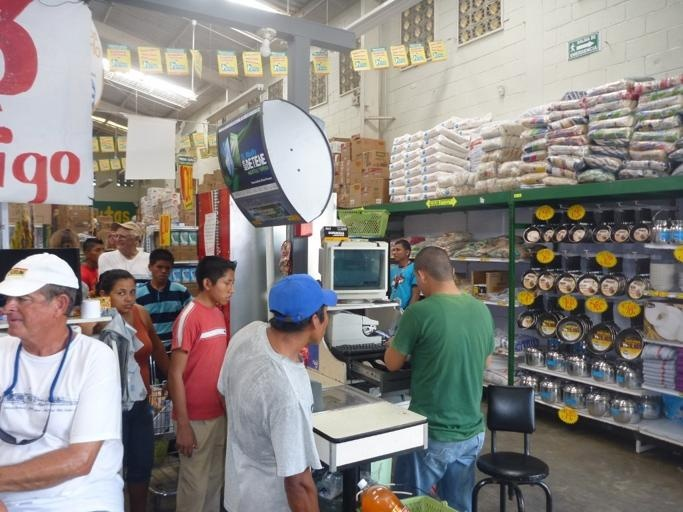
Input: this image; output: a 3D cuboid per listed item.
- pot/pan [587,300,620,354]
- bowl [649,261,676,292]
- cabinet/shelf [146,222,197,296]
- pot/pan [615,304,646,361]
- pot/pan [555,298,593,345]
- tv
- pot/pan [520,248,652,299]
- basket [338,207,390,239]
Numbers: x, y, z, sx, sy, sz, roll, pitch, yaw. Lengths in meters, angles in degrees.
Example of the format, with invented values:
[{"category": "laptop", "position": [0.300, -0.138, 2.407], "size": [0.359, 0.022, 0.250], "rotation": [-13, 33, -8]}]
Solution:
[{"category": "pot/pan", "position": [2.563, 0.674, 5.597], "size": [0.075, 0.543, 0.278], "rotation": [2, -2, -29]}, {"category": "bowl", "position": [2.769, 0.182, 5.031], "size": [0.211, 0.243, 0.210], "rotation": [0, 5, 0]}, {"category": "cabinet/shelf", "position": [-2.044, 0.097, 7.150], "size": [0.671, 0.907, 0.672], "rotation": [-3, -5, -16]}, {"category": "pot/pan", "position": [2.655, 0.675, 5.356], "size": [0.223, 0.553, 0.355], "rotation": [0, 3, 26]}, {"category": "pot/pan", "position": [2.340, 0.670, 5.799], "size": [0.319, 0.482, 0.122], "rotation": [-5, -14, 35]}, {"category": "tv", "position": [0.063, 0.101, 4.077], "size": [0.488, 0.410, 0.458], "rotation": [-1, 1, -27]}, {"category": "pot/pan", "position": [2.456, 0.194, 5.674], "size": [0.427, 0.529, 1.394], "rotation": [1, 1, -40]}, {"category": "basket", "position": [0.209, -0.298, 5.255], "size": [0.442, 0.217, 0.291], "rotation": [6, 6, 42]}]
